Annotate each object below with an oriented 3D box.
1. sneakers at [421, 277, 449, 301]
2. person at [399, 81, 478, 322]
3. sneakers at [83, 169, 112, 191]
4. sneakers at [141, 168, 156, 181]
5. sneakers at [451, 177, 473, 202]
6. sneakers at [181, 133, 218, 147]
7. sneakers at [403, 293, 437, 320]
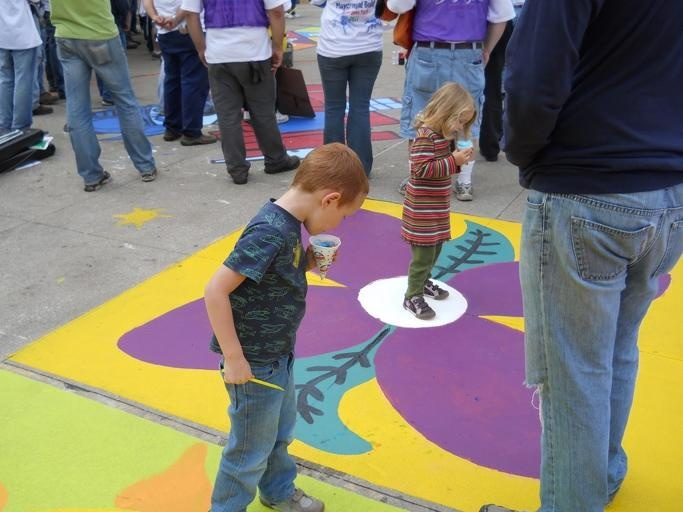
[{"bbox_3d":[0.589,0.210,4.106,0.243,0.099,0.091,17,31,25],"label":"sneakers"},{"bbox_3d":[0.594,-0.328,3.787,0.383,1.333,0.650,6,27,11],"label":"person"},{"bbox_3d":[-2.342,-0.713,5.909,0.107,0.143,0.312,11,41,16],"label":"sneakers"},{"bbox_3d":[-1.915,-0.782,6.052,0.074,0.089,0.194,-2,17,-7],"label":"sneakers"},{"bbox_3d":[1.095,-0.584,5.536,0.105,0.117,0.280,-3,22,-1],"label":"sneakers"},{"bbox_3d":[-1.692,-1.356,7.287,0.482,0.179,0.155,-9,31,-22],"label":"sneakers"},{"bbox_3d":[0.476,0.314,3.852,0.090,0.095,0.230,-29,44,-32],"label":"sneakers"}]
